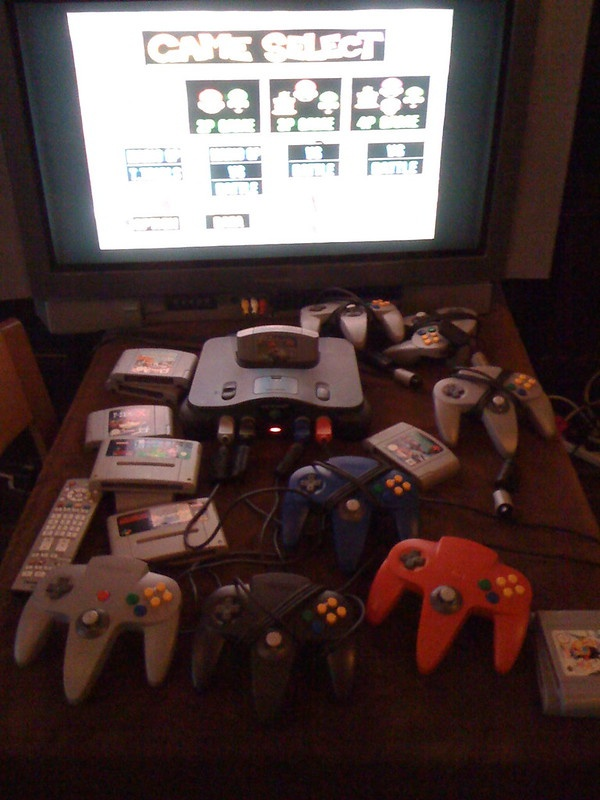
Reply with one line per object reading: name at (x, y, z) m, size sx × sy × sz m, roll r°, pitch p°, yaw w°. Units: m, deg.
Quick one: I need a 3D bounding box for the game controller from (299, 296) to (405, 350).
game controller at (0.094, -0.135, 1.089) m, size 0.169 × 0.067 × 0.154 m, roll -11°, pitch 28°, yaw -1°

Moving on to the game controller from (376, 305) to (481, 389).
game controller at (0.216, -0.103, 1.035) m, size 0.140 × 0.046 × 0.139 m, roll -21°, pitch 34°, yaw -3°

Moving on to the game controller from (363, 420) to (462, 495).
game controller at (0.148, 0.073, 0.820) m, size 0.087 × 0.028 × 0.117 m, roll -16°, pitch 36°, yaw -25°

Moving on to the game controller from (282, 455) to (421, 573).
game controller at (0.058, 0.129, 0.723) m, size 0.161 × 0.052 × 0.161 m, roll 1°, pitch 40°, yaw -3°

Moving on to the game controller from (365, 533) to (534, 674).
game controller at (0.147, 0.199, 0.612) m, size 0.160 × 0.042 × 0.140 m, roll 0°, pitch 35°, yaw 0°
